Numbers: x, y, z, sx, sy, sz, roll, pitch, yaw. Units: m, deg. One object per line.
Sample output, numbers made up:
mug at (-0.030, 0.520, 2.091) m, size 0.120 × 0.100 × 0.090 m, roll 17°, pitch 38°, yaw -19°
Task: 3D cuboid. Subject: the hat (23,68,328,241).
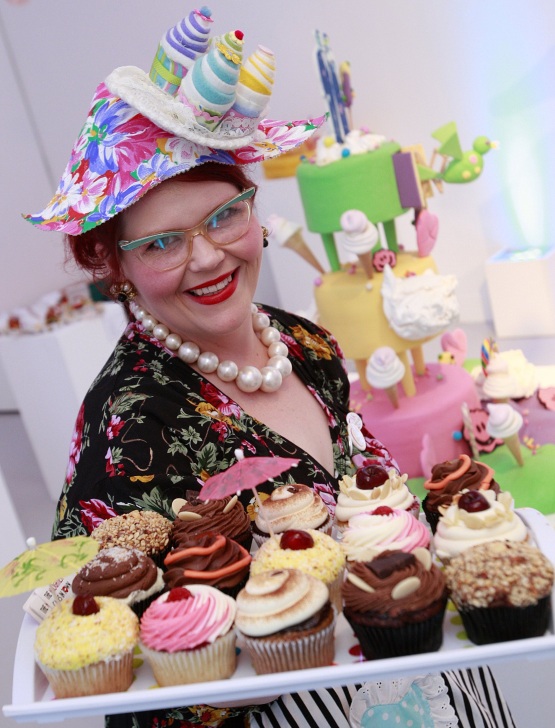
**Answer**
hat at (-0.199, -0.418, 1.244) m, size 0.604 × 0.266 × 0.331 m, roll -18°, pitch 17°, yaw -16°
